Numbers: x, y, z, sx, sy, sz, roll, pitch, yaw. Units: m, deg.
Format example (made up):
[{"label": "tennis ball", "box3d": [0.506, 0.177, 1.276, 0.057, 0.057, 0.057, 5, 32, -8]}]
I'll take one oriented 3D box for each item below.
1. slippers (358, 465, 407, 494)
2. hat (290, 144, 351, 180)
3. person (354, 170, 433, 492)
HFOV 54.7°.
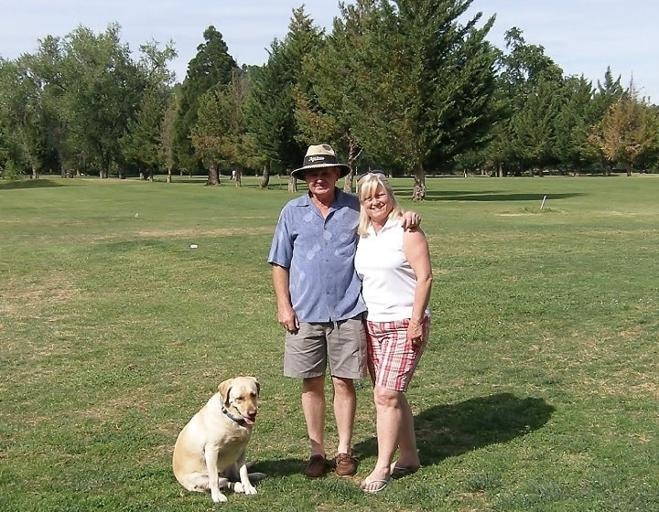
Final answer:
[{"label": "slippers", "box3d": [0.523, 2.105, 6.088, 0.534, 0.218, 0.176, 2, 2, -43]}, {"label": "hat", "box3d": [-0.087, -0.974, 6.412, 0.622, 0.291, 0.642, -7, -4, 13]}, {"label": "person", "box3d": [0.601, 0.683, 6.041, 0.692, 2.903, 0.754, 0, 8, -1]}]
